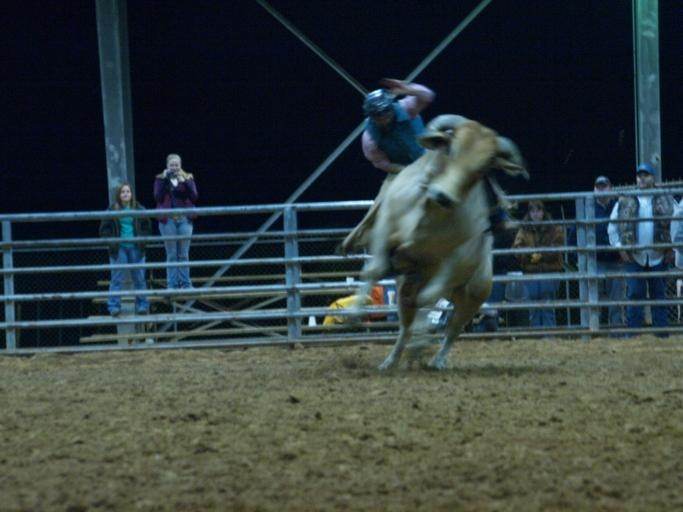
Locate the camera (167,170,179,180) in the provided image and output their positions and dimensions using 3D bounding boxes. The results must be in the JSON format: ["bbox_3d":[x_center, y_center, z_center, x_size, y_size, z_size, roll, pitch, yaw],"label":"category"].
[{"bbox_3d":[-2.300,-1.121,16.146,0.114,0.112,0.038,7,13,-3],"label":"camera"}]

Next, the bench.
[{"bbox_3d":[-1.096,0.648,16.991,3.770,1.074,0.890,0,-7,17],"label":"bench"}]

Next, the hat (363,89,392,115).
[{"bbox_3d":[0.418,-1.680,12.874,0.241,0.230,0.299,-4,-14,-1],"label":"hat"}]

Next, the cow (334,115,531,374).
[{"bbox_3d":[1.074,-0.442,12.576,1.610,1.659,1.122,1,0,11],"label":"cow"}]
